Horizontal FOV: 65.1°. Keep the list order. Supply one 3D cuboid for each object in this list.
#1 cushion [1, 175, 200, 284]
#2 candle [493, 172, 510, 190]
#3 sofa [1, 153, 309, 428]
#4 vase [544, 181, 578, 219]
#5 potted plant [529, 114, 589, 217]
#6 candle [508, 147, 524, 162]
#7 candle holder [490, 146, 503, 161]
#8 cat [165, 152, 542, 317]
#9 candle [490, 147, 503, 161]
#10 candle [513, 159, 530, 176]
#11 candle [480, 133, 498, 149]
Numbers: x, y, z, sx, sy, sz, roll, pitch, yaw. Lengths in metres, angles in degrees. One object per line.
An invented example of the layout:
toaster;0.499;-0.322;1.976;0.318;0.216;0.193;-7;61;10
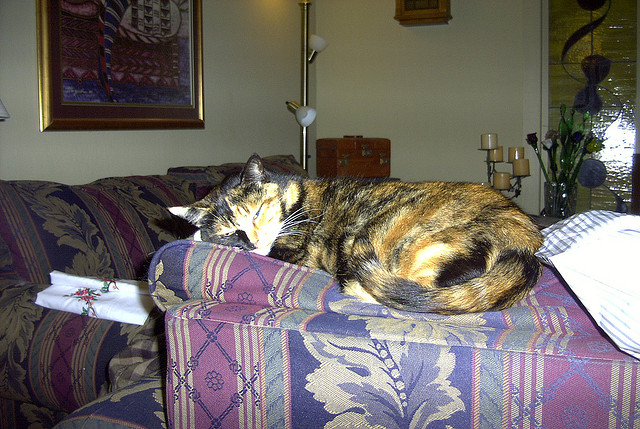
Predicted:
cushion;-0.937;0.086;2.114;0.654;0.552;0.190;7;-26;-36
candle;1.152;-0.210;3.198;0.099;0.116;0.215;3;11;19
sofa;-0.542;0.249;1.516;0.313;0.395;0.983;-7;23;16
vase;1.454;-0.096;3.063;0.174;0.239;0.161;5;22;25
potted plant;1.485;-0.255;3.102;0.403;0.587;0.381;-1;-9;4
candle;1.304;-0.402;3.374;0.068;0.094;0.127;-6;12;-27
candle holder;1.214;-0.422;3.466;0.098;0.105;0.094;1;2;1
cat;0.120;-0.024;1.290;0.762;0.276;0.470;4;-4;10
candle;1.212;-0.417;3.456;0.096;0.103;0.092;1;3;1
candle;1.286;-0.299;3.229;0.104;0.112;0.103;0;0;36
candle;1.166;-0.503;3.499;0.118;0.118;0.124;-5;7;-37
